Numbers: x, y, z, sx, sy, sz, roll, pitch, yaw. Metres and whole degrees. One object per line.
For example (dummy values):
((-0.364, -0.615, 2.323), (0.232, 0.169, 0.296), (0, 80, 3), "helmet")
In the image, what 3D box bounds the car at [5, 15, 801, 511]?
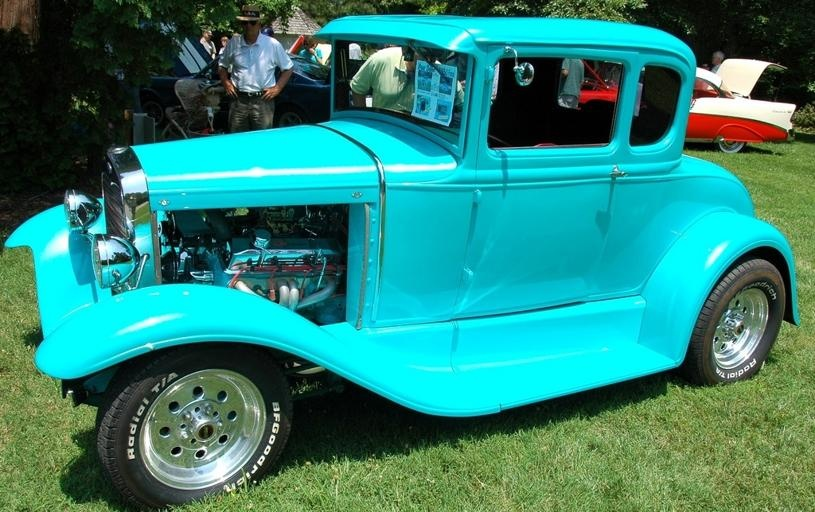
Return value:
((0.433, -0.287, 6.448), (6.533, 3.083, 3.699), (-3, 19, -17), "car")

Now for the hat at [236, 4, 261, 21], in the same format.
((-2.161, -3.284, 8.764), (0.223, 0.103, 0.252), (-13, 21, -36), "hat")
